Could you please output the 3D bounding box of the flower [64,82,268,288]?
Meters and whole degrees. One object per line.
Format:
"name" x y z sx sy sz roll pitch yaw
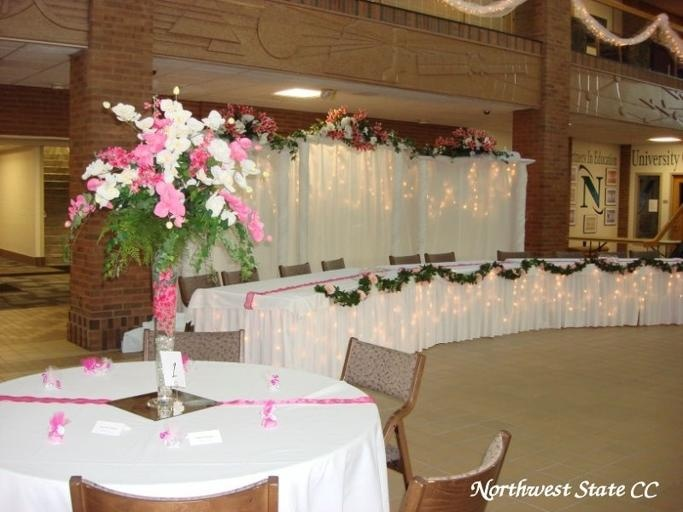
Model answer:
"flower" -0.826 -0.324 2.765 0.880 0.882 0.525 -1 7 -14

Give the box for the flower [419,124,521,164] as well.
"flower" 2.246 -1.965 10.208 1.875 0.583 0.433 0 7 -8
